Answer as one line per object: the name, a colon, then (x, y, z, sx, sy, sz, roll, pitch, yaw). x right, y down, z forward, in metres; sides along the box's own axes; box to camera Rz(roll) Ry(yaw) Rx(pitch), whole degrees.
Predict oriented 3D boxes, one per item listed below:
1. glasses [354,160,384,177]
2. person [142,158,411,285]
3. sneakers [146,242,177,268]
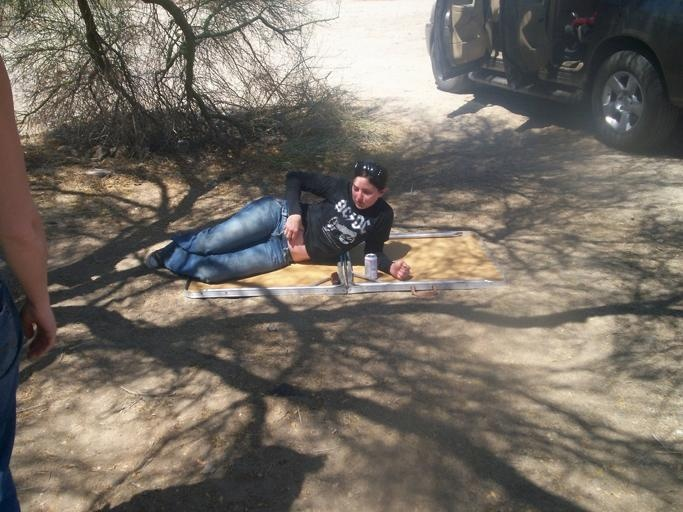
glasses: (0.261, -0.737, 4.646, 0.189, 0.173, 0.053, 7, 61, 12)
person: (-0.558, -0.205, 5.023, 2.570, 0.917, 0.646, -15, -2, 15)
sneakers: (-1.734, -0.006, 5.103, 0.325, 0.126, 0.233, -20, 11, 42)
